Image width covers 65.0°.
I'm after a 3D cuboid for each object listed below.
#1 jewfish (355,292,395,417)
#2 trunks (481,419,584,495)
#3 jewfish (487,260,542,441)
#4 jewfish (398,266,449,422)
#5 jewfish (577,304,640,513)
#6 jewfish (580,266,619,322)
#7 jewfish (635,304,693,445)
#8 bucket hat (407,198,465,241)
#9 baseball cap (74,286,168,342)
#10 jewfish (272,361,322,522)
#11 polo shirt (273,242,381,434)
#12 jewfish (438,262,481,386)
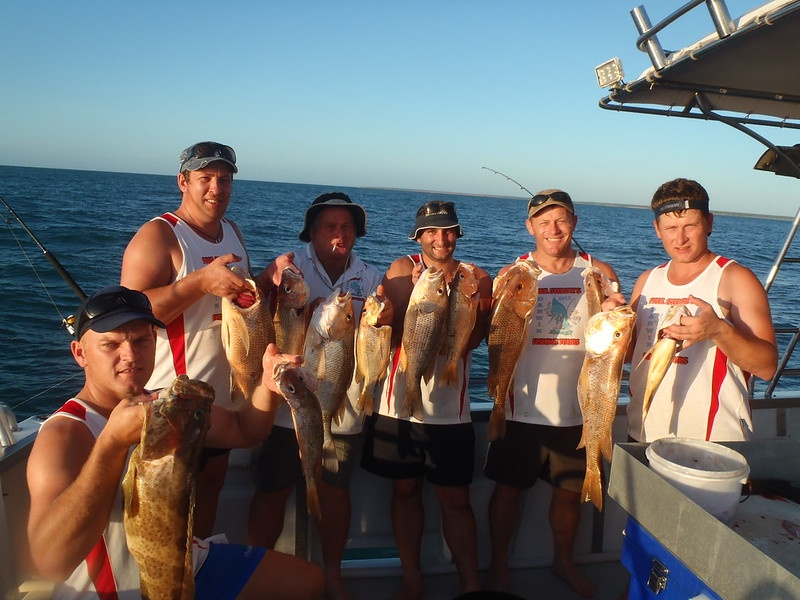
[{"bbox_3d":[-0.217,0.387,4.582,0.200,0.890,0.301,-7,14,-42],"label":"jewfish"},{"bbox_3d":[1.070,1.401,5.143,0.871,0.664,0.497,8,11,-1],"label":"trunks"},{"bbox_3d":[0.835,0.410,4.785,0.354,1.417,0.375,3,11,3],"label":"jewfish"},{"bbox_3d":[0.170,0.338,4.648,0.336,1.178,0.300,3,11,-2],"label":"jewfish"},{"bbox_3d":[1.400,0.778,4.418,0.319,1.488,0.486,6,11,19],"label":"jewfish"},{"bbox_3d":[1.446,-0.073,4.685,0.232,0.379,0.150,-7,-24,-15],"label":"jewfish"},{"bbox_3d":[1.932,0.489,4.356,0.247,0.882,0.420,19,29,13],"label":"jewfish"},{"bbox_3d":[0.308,-0.620,4.884,0.467,0.237,0.538,-4,1,-19],"label":"bucket hat"},{"bbox_3d":[-1.619,0.051,3.577,0.421,0.285,0.564,-11,-3,-40],"label":"baseball cap"},{"bbox_3d":[-0.569,0.854,3.687,0.222,1.064,0.421,7,12,22],"label":"jewfish"},{"bbox_3d":[-0.516,0.304,5.004,0.725,1.880,0.534,3,-14,-3],"label":"polo shirt"},{"bbox_3d":[0.459,0.145,4.718,0.405,0.200,1.060,16,49,-1],"label":"jewfish"}]
